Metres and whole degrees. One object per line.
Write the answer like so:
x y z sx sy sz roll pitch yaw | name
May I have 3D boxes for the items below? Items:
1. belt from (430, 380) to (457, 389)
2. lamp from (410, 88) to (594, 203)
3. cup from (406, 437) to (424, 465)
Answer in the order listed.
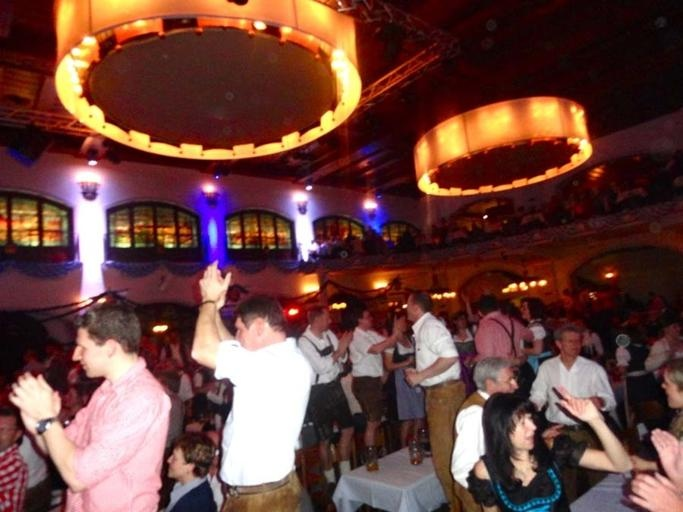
1.223 1.512 5.847 0.319 0.080 0.092 -6 -9 8 | belt
2.133 -1.396 6.333 1.829 0.459 1.867 -10 -9 -9 | lamp
0.846 2.240 5.639 0.227 0.373 0.224 -2 -21 -1 | cup
